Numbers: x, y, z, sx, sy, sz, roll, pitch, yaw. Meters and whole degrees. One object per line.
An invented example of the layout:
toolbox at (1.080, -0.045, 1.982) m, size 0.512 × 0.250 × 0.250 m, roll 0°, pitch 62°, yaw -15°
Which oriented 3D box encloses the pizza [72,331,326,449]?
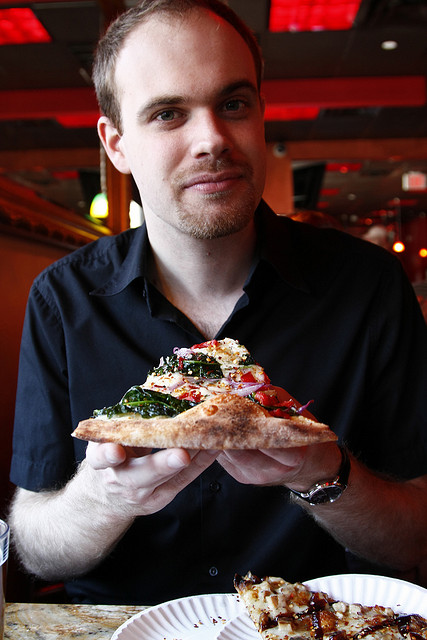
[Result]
pizza at (-0.040, 0.137, 1.036) m, size 0.402 × 0.083 × 0.372 m, roll 1°, pitch 19°, yaw -7°

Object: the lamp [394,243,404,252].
lamp at (4.920, -1.921, 14.881) m, size 0.215 × 0.213 × 0.482 m, roll 10°, pitch 21°, yaw 16°

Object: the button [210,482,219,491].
button at (0.003, 0.446, 1.510) m, size 0.020 × 0.018 × 0.004 m, roll 19°, pitch -13°, yaw -1°

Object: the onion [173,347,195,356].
onion at (-0.062, 0.067, 1.188) m, size 0.031 × 0.011 × 0.039 m, roll 3°, pitch 0°, yaw 0°
